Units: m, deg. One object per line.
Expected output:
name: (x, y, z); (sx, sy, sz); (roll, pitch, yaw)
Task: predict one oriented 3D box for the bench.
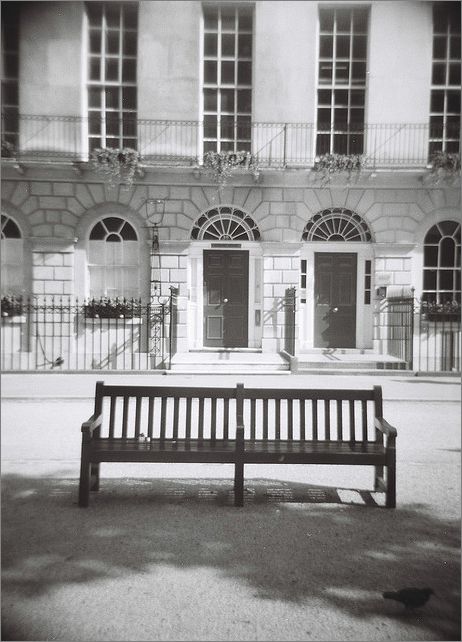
bench: (0.068, 1.094, 6.556); (2.650, 1.187, 0.742); (1, 0, -1)
